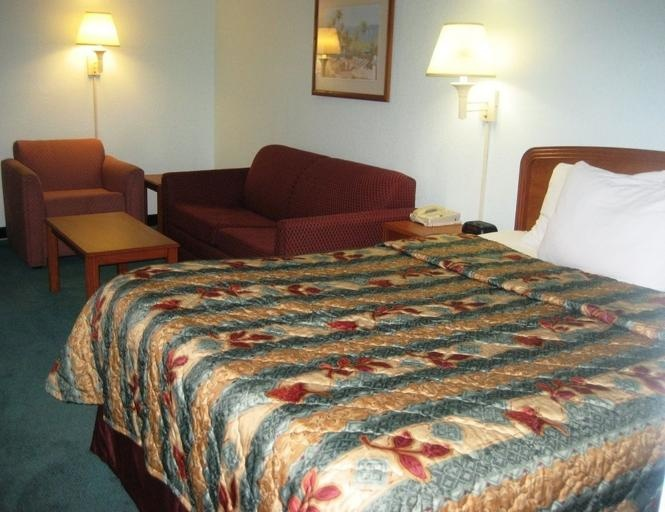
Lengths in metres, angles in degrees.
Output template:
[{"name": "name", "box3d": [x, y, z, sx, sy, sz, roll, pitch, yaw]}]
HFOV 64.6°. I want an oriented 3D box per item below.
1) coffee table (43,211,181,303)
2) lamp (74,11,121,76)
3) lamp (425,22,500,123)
[{"name": "coffee table", "box3d": [-1.621, -0.112, 3.944, 0.630, 0.583, 1.153, -8, 22, -32]}, {"name": "lamp", "box3d": [-2.525, -2.254, 5.649, 0.404, 0.652, 0.505, -7, 19, -24]}, {"name": "lamp", "box3d": [0.864, -1.259, 3.748, 0.602, 0.777, 0.577, 3, 12, -1]}]
